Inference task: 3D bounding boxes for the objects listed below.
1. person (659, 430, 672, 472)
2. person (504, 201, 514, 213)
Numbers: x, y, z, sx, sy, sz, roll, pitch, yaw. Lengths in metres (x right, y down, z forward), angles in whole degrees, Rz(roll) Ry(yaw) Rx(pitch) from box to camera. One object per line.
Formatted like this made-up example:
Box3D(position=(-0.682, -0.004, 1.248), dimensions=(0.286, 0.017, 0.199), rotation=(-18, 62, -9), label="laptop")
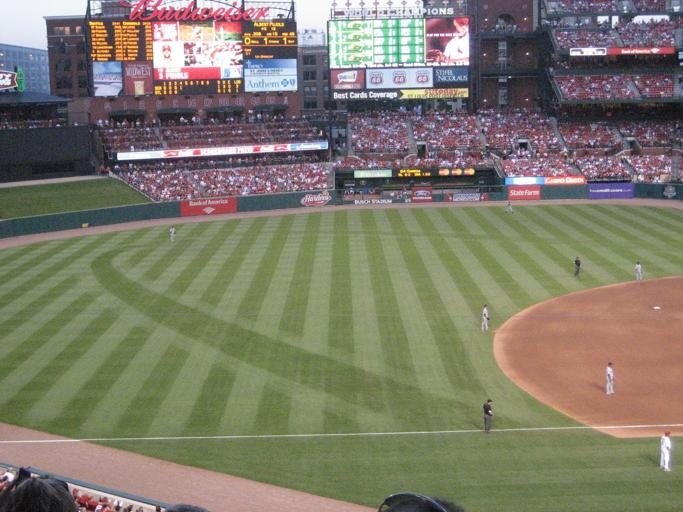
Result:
Box3D(position=(12.936, 7.517, 32.611), dimensions=(0.450, 1.486, 1.381), rotation=(4, 16, 21), label="person")
Box3D(position=(15.451, -4.362, 75.057), dimensions=(1.125, 0.351, 1.431), rotation=(11, 38, 8), label="person")
